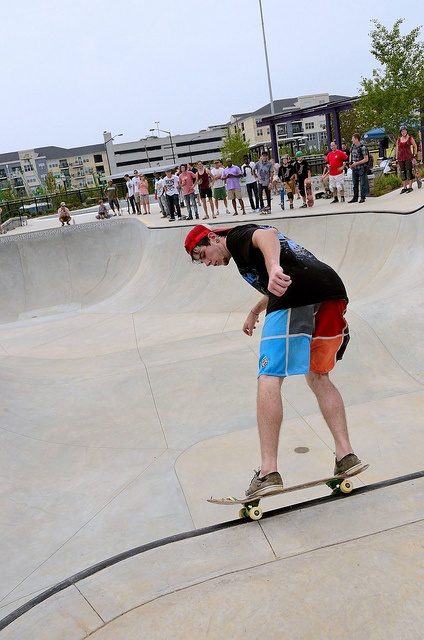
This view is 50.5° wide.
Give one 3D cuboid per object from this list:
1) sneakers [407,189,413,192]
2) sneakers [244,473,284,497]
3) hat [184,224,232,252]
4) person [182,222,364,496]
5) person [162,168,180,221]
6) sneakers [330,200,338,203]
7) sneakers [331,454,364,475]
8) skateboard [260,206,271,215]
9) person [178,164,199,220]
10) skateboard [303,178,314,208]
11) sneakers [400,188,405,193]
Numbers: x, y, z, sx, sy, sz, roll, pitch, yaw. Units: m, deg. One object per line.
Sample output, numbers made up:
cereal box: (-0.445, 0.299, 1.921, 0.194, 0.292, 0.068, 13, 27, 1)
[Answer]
sneakers: (4.814, -3.154, 10.965, 0.096, 0.089, 0.249, 5, 9, 23)
sneakers: (0.214, 0.708, 1.913, 0.075, 0.095, 0.218, 13, -32, -27)
hat: (-0.024, -0.402, 2.254, 0.202, 0.107, 0.124, -32, 4, -2)
person: (0.362, 0.121, 2.117, 0.743, 1.320, 0.566, -13, -2, -9)
person: (-1.242, -3.797, 13.670, 0.550, 1.554, 0.532, -4, 15, 10)
sneakers: (3.277, -3.185, 12.119, 0.074, 0.089, 0.226, -5, 8, -37)
sneakers: (0.630, 0.685, 2.102, 0.062, 0.067, 0.161, -20, -5, 43)
skateboard: (1.382, -2.855, 11.773, 0.151, 0.130, 0.351, 7, 0, -15)
person: (-0.680, -3.624, 12.828, 0.635, 1.553, 0.438, -6, 15, 11)
skateboard: (2.497, -3.262, 11.687, 0.237, 0.777, 0.298, -8, 16, -12)
sneakers: (4.662, -3.139, 10.965, 0.094, 0.113, 0.277, -2, 9, 8)
